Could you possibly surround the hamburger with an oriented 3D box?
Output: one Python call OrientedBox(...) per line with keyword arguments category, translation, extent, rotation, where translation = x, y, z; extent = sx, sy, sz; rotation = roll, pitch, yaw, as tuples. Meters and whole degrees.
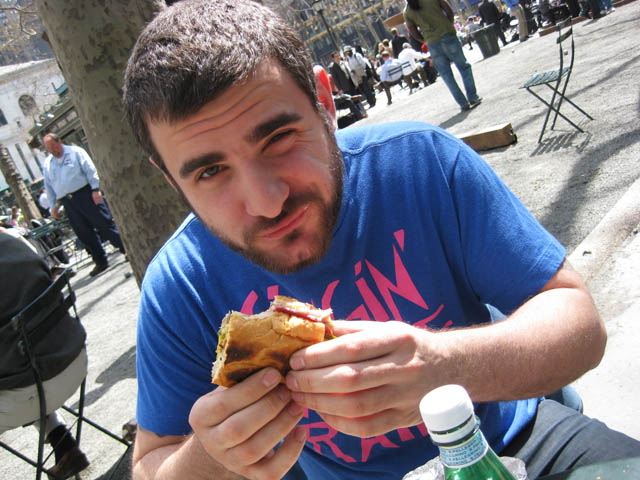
OrientedBox(category="hamburger", translation=(-0.144, 0.342, 1.705), extent=(0.279, 0.348, 0.137), rotation=(7, 5, -18))
